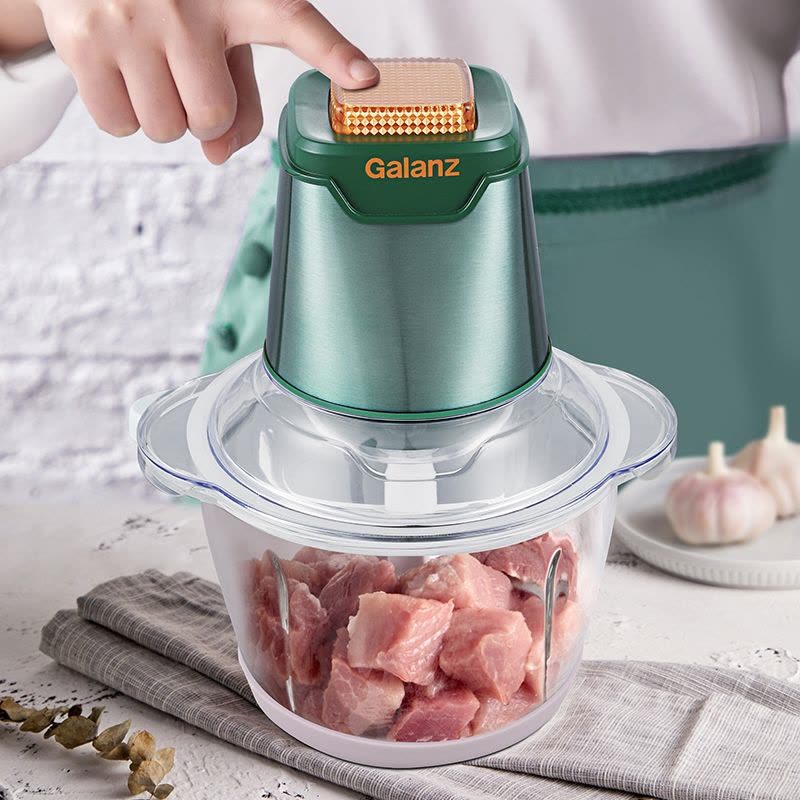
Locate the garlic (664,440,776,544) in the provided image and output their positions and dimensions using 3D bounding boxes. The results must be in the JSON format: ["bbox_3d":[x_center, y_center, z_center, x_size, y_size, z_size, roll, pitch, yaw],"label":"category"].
[{"bbox_3d":[0.394,0.113,1.314,0.166,0.109,0.160,-2,1,45],"label":"garlic"}]

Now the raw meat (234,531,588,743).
[{"bbox_3d":[0.010,0.201,0.916,0.306,0.098,0.218,-2,10,-4],"label":"raw meat"}]

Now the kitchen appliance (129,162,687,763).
[{"bbox_3d":[-0.008,0.073,0.990,0.618,0.268,0.405,-1,24,-1],"label":"kitchen appliance"}]
